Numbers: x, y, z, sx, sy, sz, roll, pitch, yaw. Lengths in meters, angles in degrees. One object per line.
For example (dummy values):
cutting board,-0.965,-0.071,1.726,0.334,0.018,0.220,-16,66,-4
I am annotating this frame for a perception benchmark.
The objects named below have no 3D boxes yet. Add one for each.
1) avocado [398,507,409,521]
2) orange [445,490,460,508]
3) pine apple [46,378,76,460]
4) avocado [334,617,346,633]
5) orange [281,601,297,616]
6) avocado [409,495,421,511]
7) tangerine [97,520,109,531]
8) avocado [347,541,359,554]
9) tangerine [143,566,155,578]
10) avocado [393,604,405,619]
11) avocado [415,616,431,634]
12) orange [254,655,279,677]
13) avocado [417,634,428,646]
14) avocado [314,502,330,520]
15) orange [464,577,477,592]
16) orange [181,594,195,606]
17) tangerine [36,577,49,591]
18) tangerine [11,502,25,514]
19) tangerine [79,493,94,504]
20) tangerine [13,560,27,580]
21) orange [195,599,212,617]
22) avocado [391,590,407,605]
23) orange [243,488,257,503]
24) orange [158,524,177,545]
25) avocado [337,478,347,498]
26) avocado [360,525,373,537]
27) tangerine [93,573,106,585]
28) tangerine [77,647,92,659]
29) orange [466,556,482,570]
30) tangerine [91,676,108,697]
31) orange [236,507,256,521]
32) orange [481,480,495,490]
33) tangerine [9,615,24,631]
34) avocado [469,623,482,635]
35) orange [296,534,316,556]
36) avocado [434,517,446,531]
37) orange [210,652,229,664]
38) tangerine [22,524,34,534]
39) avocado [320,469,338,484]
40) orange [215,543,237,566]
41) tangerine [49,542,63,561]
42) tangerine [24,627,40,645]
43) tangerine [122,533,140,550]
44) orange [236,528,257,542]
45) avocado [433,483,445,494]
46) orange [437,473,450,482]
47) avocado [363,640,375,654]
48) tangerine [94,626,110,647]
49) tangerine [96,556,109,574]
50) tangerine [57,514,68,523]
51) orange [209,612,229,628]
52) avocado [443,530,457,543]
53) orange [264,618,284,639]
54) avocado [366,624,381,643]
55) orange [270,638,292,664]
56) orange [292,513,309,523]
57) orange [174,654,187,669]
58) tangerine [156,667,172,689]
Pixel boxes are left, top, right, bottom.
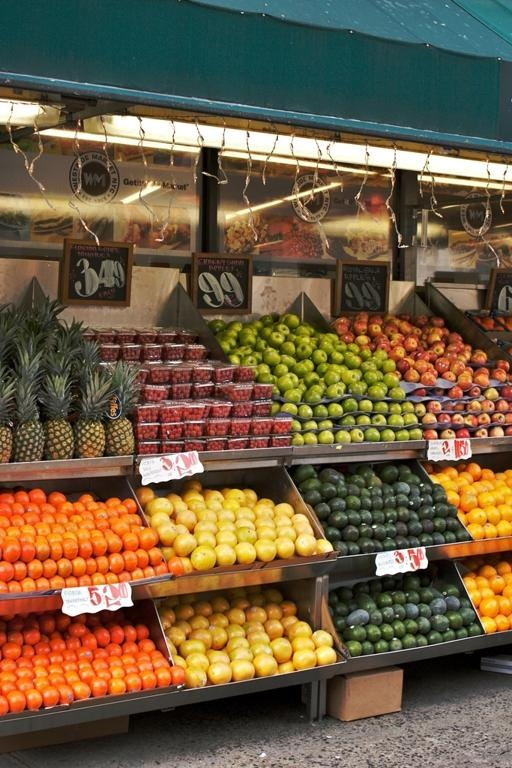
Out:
avocado,0.790,0.686,3.098,0.058,0.060,0.057,2,45,-6
orange,1.142,0.654,3.354,0.088,0.086,0.089,7,18,26
pine apple,-0.768,0.130,2.245,0.119,0.334,0.120,-3,2,-17
avocado,0.407,1.141,2.772,0.058,0.068,0.058,-2,2,-18
orange,0.161,1.108,2.861,0.062,0.064,0.064,-41,13,43
avocado,0.876,0.646,3.188,0.063,0.081,0.062,8,-12,-3
tangerine,-0.596,0.548,2.273,0.052,0.034,0.053,4,-10,-15
avocado,0.471,0.790,2.822,0.029,0.055,0.056,3,17,17
tangerine,-0.411,0.721,2.241,0.032,0.039,0.031,3,-33,-38
avocado,0.728,1.138,2.943,0.057,0.056,0.055,-10,-4,2
avocado,0.854,1.222,2.967,0.061,0.080,0.061,-4,0,2
orange,0.048,1.176,2.435,0.078,0.079,0.080,10,-13,9
avocado,0.840,1.271,2.919,0.042,0.057,0.044,-11,-23,5
avocado,0.334,0.627,2.881,0.070,0.084,0.070,1,-6,-6
orange,1.214,1.130,3.299,0.066,0.078,0.065,-3,-20,-4
orange,-0.316,0.999,2.705,0.045,0.054,0.044,-8,-40,-8
tangerine,-0.719,0.672,1.959,0.035,0.035,0.034,-20,-14,-40
tangerine,-0.908,0.475,2.225,0.035,0.036,0.035,-20,44,4
tangerine,-0.721,0.487,2.489,0.042,0.040,0.042,0,-6,3
tangerine,-0.783,0.619,1.940,0.049,0.064,0.049,-3,-12,-19
orange,-0.238,1.030,2.676,0.057,0.066,0.057,2,-19,-13
avocado,0.751,1.102,3.024,0.059,0.057,0.059,-2,4,0
orange,-0.024,0.565,2.957,0.062,0.062,0.059,1,-1,-4
orange,-0.365,0.630,2.442,0.072,0.086,0.074,3,-26,-9
avocado,0.454,0.534,3.018,0.044,0.086,0.042,-15,-32,39
avocado,0.552,0.727,2.906,0.055,0.065,0.057,1,-9,-3
tangerine,-0.566,0.704,2.109,0.034,0.033,0.032,-4,18,-13
tangerine,-0.634,1.002,2.167,0.047,0.036,0.060,2,-10,0
orange,1.375,1.105,3.627,0.066,0.051,0.088,-8,28,24
tangerine,-0.531,1.028,1.976,0.054,0.065,0.052,-7,-2,3
orange,-0.047,0.597,2.728,0.054,0.055,0.058,-3,41,-5
orange,1.419,0.609,3.548,0.060,0.032,0.060,-12,31,-26
tangerine,-0.894,0.888,2.177,0.035,0.041,0.035,10,23,-19
avocado,1.164,1.300,3.085,0.056,0.054,0.056,-6,16,-5
orange,0.228,0.725,2.627,0.094,0.096,0.087,0,-10,9
avocado,0.996,0.748,3.137,0.064,0.077,0.063,4,-21,-8
orange,-0.148,1.113,2.368,0.075,0.034,0.078,0,-10,10
tangerine,-0.814,0.516,2.074,0.031,0.030,0.028,-3,41,-14
avocado,0.387,0.475,3.047,0.069,0.070,0.072,2,-4,-33
orange,-0.122,0.702,2.398,0.081,0.079,0.080,6,-2,-5
tangerine,-0.697,0.581,2.030,0.039,0.040,0.041,36,20,12
tangerine,-0.822,0.928,2.151,0.045,0.055,0.044,1,-30,-16
tangerine,-0.481,0.608,2.246,0.056,0.056,0.056,17,-43,-20
orange,-0.036,0.657,2.534,0.088,0.065,0.055,2,-10,-4
avocado,1.038,0.587,3.291,0.050,0.049,0.050,2,17,-3
orange,1.130,0.562,3.502,0.046,0.046,0.055,-3,38,3
avocado,0.529,1.235,2.741,0.054,0.054,0.050,-2,1,-2
tangerine,-0.600,0.989,2.291,0.051,0.063,0.052,-29,-19,28
tangerine,-0.566,0.667,2.158,0.054,0.062,0.052,3,-13,-17
tangerine,-0.754,0.523,2.271,0.034,0.032,0.032,5,49,33
orange,-0.165,1.072,2.658,0.053,0.050,0.052,8,-4,-27
avocado,1.050,0.812,3.141,0.061,0.058,0.056,-1,3,-1
orange,0.086,1.139,2.713,0.103,0.080,0.048,7,-12,-29
avocado,0.562,1.184,2.773,0.071,0.091,0.073,-10,-11,40
orange,0.118,1.166,2.563,0.093,0.091,0.086,10,-4,-2
orange,0.211,0.633,2.759,0.046,0.053,0.043,8,47,6
orange,-0.291,1.082,2.276,0.039,0.046,0.039,0,4,5
tangerine,-0.337,1.075,2.138,0.055,0.066,0.054,1,-16,-17
